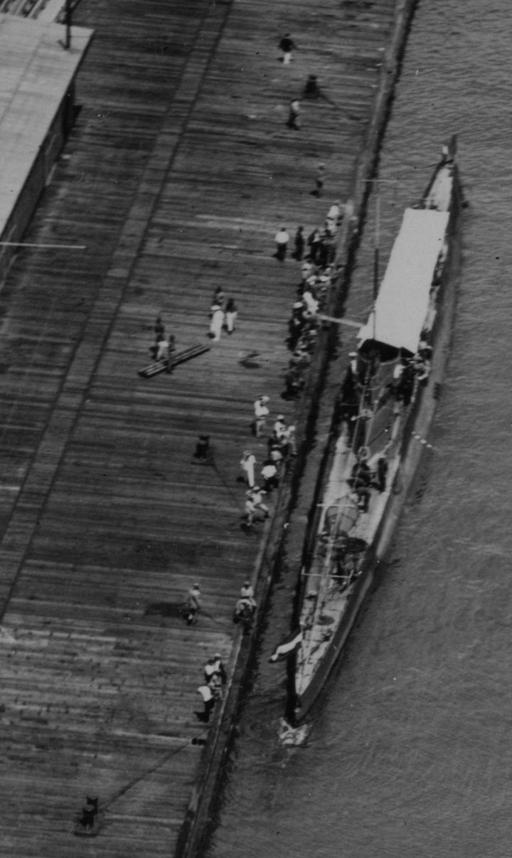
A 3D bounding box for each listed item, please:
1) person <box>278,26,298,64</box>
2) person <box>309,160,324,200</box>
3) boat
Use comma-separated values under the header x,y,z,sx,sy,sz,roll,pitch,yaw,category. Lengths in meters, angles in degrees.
x,y,z,sx,sy,sz,roll,pitch,yaw,category
1.066,-13.483,75.673,0.624,0.974,1.508,5,39,-1,person
1.975,-7.946,70.084,0.267,0.233,1.617,4,53,9,person
3.213,1.072,60.965,1.899,4.941,16.073,12,68,9,boat
